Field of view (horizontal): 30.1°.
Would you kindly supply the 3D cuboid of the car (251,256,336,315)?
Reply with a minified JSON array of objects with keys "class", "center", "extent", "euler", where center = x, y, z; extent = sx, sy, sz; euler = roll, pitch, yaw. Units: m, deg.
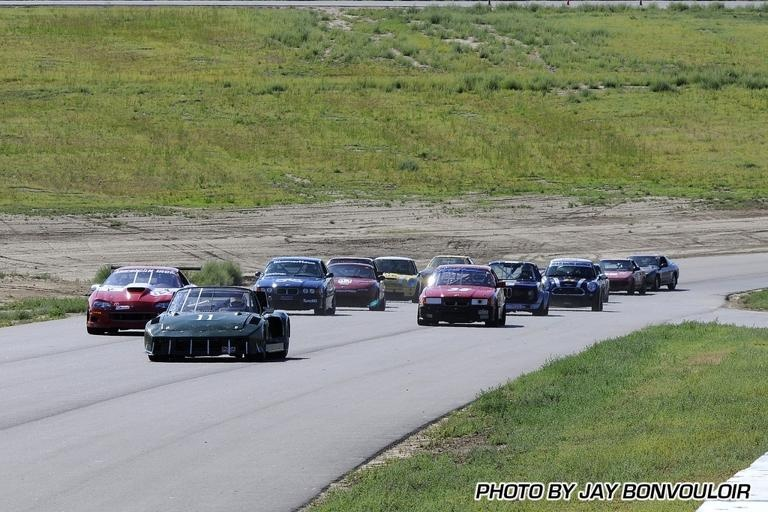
[{"class":"car","center":[-2.793,0.946,47.313],"extent":[2.126,1.574,4.449],"euler":[0,2,2]}]

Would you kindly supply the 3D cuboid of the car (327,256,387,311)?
[{"class":"car","center":[-0.871,0.969,50.468],"extent":[1.915,1.493,3.991],"euler":[0,2,1]}]

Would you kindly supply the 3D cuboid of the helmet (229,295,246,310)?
[{"class":"helmet","center":[-3.907,1.244,38.433],"extent":[0.447,0.357,0.125],"euler":[5,-3,23]}]

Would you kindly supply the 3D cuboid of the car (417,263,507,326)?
[{"class":"car","center":[2.703,0.970,46.154],"extent":[2.542,1.333,4.523],"euler":[2,9,11]}]

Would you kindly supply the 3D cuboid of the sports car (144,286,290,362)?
[{"class":"sports car","center":[-4.538,1.553,39.710],"extent":[3.766,1.530,5.469],"euler":[1,7,4]}]

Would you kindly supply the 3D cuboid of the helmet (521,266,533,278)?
[{"class":"helmet","center":[4.923,0.530,48.452],"extent":[0.445,0.358,0.356],"euler":[2,11,17]}]
